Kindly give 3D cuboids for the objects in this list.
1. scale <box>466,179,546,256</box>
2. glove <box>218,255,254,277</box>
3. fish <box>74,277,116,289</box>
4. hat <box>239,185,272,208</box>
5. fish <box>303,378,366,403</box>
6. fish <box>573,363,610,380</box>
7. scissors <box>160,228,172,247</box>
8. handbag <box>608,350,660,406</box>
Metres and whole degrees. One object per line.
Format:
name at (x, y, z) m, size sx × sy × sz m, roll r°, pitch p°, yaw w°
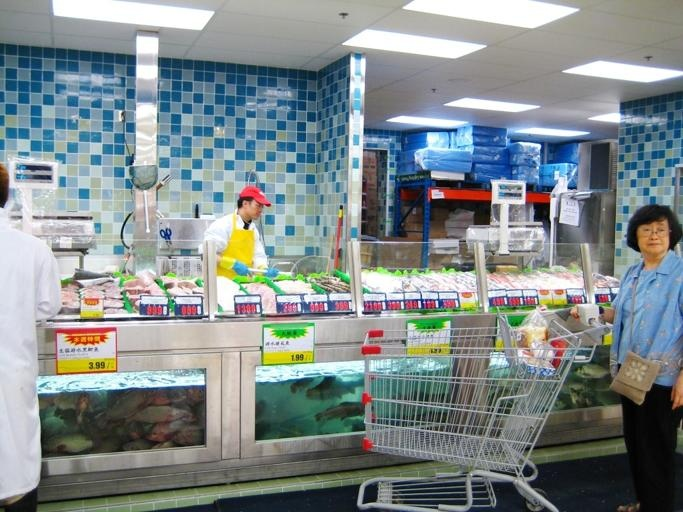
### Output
scale at (1.236, -0.311, 4.618) m, size 0.760 × 0.571 × 0.369 m, roll -3°, pitch 12°, yaw -25°
glove at (-0.888, 0.080, 4.845) m, size 0.143 × 0.112 × 0.108 m, roll -34°, pitch 9°, yaw 21°
fish at (-1.623, 0.167, 3.928) m, size 0.133 × 0.047 × 0.282 m, roll 9°, pitch 13°, yaw 36°
hat at (-0.710, -0.526, 5.326) m, size 0.400 × 0.177 × 0.244 m, roll 7°, pitch 1°, yaw -9°
fish at (-0.047, 0.868, 3.894) m, size 0.359 × 0.148 × 0.134 m, roll -1°, pitch 5°, yaw -20°
fish at (1.899, 0.883, 4.469) m, size 0.240 × 0.126 × 0.025 m, roll -8°, pitch 7°, yaw -23°
scissors at (-1.801, -0.235, 6.014) m, size 0.120 × 0.116 × 0.118 m, roll -1°, pitch 11°, yaw -17°
handbag at (1.630, 0.675, 3.265) m, size 0.251 × 0.278 × 0.105 m, roll 33°, pitch 10°, yaw 37°
